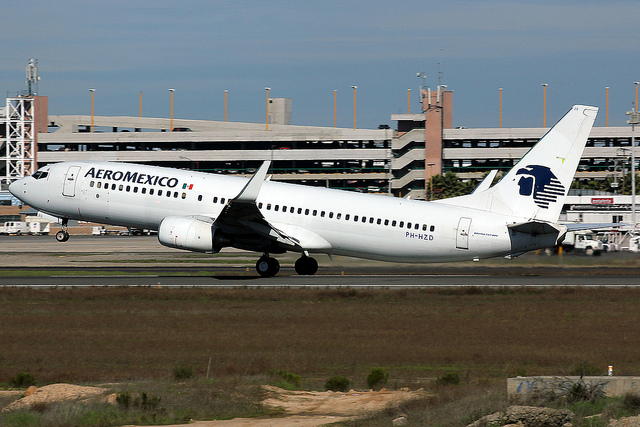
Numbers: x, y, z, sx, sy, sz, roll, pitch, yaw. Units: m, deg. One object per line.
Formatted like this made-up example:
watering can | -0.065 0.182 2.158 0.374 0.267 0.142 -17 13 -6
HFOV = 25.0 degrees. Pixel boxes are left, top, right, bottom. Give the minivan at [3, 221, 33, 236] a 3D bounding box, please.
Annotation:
minivan | -32.799 1.591 159.162 1.849 0.897 2.466 -1 -4 14

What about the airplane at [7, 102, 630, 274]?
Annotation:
airplane | 0.056 -1.656 103.491 32.666 12.034 15.352 2 2 32

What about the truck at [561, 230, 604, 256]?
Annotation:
truck | 23.164 2.361 129.611 4.973 1.650 2.179 5 16 26
